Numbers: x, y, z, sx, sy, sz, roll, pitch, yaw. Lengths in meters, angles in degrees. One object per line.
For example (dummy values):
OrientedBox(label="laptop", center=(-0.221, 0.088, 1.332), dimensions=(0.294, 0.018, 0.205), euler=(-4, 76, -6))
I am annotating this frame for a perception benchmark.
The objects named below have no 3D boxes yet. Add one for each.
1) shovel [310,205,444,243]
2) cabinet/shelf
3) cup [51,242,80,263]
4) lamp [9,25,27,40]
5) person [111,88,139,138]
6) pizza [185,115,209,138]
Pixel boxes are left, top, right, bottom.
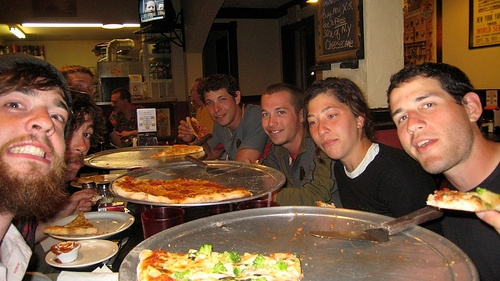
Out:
OrientedBox(label="shovel", center=(0.751, 0.501, 1.984), dimensions=(0.669, 0.089, 0.145), euler=(-13, 13, 7))
OrientedBox(label="cabinet/shelf", center=(-2.356, -2.941, 8.983), dimensions=(1.184, 1.119, 1.722), euler=(-12, 20, -24))
OrientedBox(label="cup", center=(-1.161, 0.704, 2.101), dimensions=(0.142, 0.067, 0.130), euler=(0, 15, -18))
OrientedBox(label="lamp", center=(-6.837, -3.195, 9.926), dimensions=(0.367, 0.357, 1.623), euler=(-25, 25, -20))
OrientedBox(label="person", center=(-2.623, -0.621, 6.969), dimensions=(0.529, 0.900, 0.403), euler=(-9, 11, -32))
OrientedBox(label="pizza", center=(-0.795, -0.165, 4.910), dimensions=(0.291, 0.078, 0.449), euler=(-2, 40, -45))
